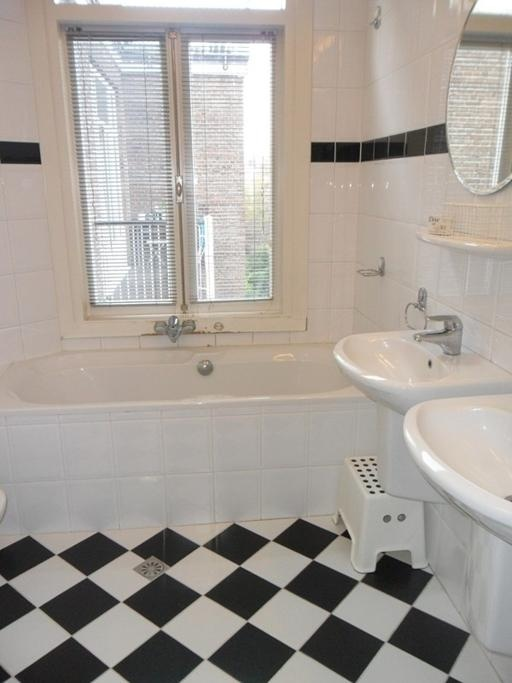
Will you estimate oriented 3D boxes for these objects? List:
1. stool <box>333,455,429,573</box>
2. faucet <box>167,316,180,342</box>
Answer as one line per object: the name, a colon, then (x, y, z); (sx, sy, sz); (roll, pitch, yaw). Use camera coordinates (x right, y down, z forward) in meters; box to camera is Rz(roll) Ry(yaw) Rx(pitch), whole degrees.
stool: (0.407, 0.602, 1.865); (0.323, 0.286, 0.434); (-4, 18, -7)
faucet: (-0.431, -0.073, 2.639); (0.072, 0.121, 0.057); (-2, 14, 1)
